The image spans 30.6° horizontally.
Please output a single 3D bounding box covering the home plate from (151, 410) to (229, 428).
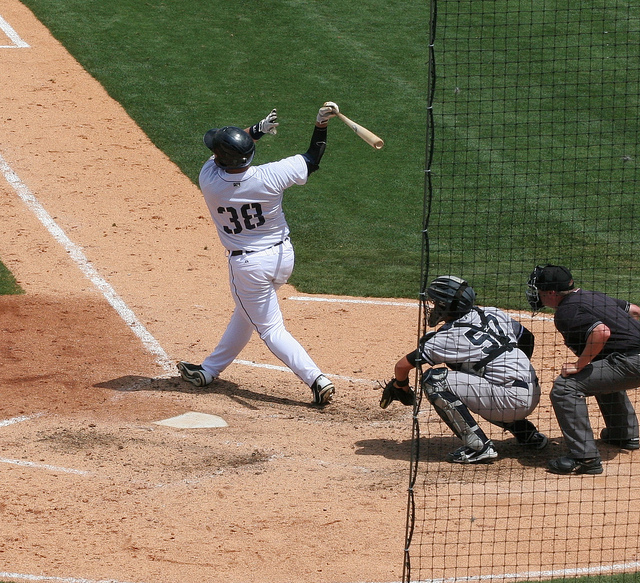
[{"bbox_3d":[-1.122,1.103,10.085,0.612,0.039,0.308,-4,20,-10],"label":"home plate"}]

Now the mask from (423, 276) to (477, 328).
[{"bbox_3d":[1.162,0.072,9.467,0.553,0.327,0.428,7,9,43],"label":"mask"}]

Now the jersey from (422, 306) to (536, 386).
[{"bbox_3d":[1.332,0.435,9.381,0.851,0.270,0.852,23,40,29],"label":"jersey"}]

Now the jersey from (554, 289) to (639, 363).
[{"bbox_3d":[2.268,0.266,9.307,0.697,0.524,0.443,-6,26,-14],"label":"jersey"}]

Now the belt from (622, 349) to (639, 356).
[{"bbox_3d":[2.467,0.476,9.220,0.112,0.047,0.031,-2,27,-7],"label":"belt"}]

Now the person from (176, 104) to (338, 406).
[{"bbox_3d":[-0.542,-0.310,10.347,1.389,2.703,1.342,-1,28,-1],"label":"person"}]

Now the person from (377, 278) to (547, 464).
[{"bbox_3d":[1.327,0.628,9.398,1.028,1.453,0.813,-2,28,-4],"label":"person"}]

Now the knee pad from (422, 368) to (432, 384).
[{"bbox_3d":[0.860,0.665,9.357,0.106,0.031,0.124,4,19,2],"label":"knee pad"}]
